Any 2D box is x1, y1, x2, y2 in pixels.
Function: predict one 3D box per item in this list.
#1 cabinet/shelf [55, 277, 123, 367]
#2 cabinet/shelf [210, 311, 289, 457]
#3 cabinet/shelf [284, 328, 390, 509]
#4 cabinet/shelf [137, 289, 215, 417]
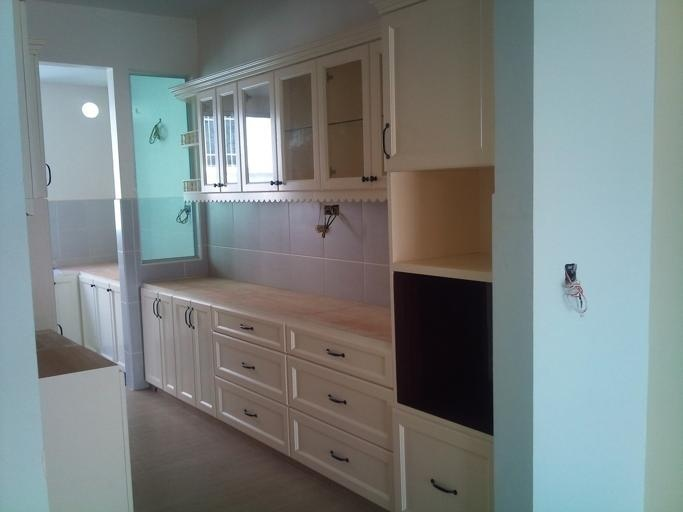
[{"bbox_3d":[-2.079,0.516,4.522,0.356,0.501,0.690,-3,9,-42],"label":"cabinet/shelf"},{"bbox_3d":[-0.486,0.814,3.581,0.679,0.669,0.381,10,17,34],"label":"cabinet/shelf"},{"bbox_3d":[-0.007,0.845,2.824,0.421,0.812,0.795,-4,7,-40],"label":"cabinet/shelf"},{"bbox_3d":[-1.225,0.727,4.090,0.317,0.742,0.810,-4,7,-42],"label":"cabinet/shelf"}]
